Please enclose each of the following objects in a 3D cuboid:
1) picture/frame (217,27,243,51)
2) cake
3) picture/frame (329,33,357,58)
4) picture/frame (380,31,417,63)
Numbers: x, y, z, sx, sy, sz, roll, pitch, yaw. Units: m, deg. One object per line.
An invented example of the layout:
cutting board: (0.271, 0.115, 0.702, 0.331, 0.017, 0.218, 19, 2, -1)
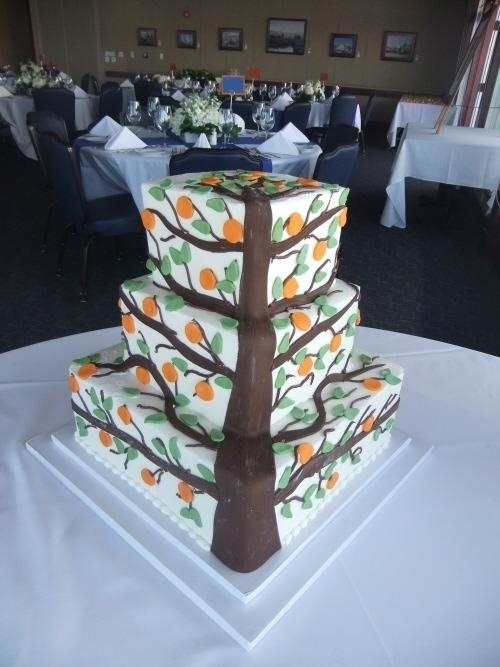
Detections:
picture/frame: (-0.409, -6.097, 10.224, 0.551, 0.447, 0.038, 5, 38, 6)
cake: (-0.021, 0.012, 1.122, 0.691, 0.631, 0.700, 27, 36, 36)
picture/frame: (1.820, -5.548, 9.512, 0.558, 0.451, 0.046, 7, 43, 9)
picture/frame: (2.801, -5.334, 9.174, 0.694, 0.588, 0.044, 5, 39, 11)
